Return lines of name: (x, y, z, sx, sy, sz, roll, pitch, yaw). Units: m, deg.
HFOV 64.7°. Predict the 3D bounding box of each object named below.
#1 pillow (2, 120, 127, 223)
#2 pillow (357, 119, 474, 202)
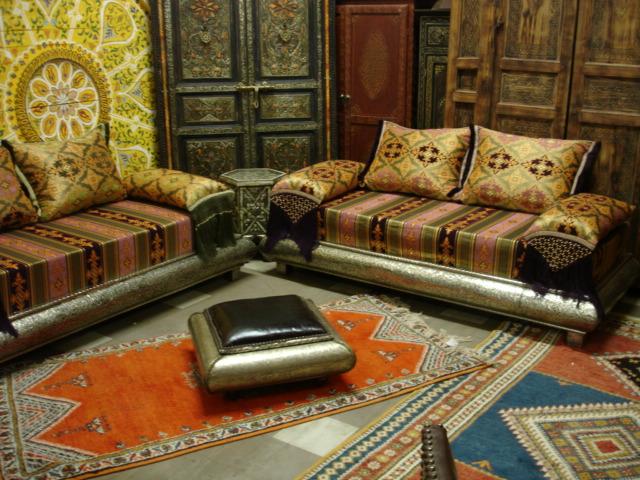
pillow: (-1.962, -0.500, 3.810, 0.464, 0.535, 0.982, 20, 29, 38)
pillow: (0.813, -0.661, 4.149, 0.950, 0.594, 0.242, 11, -9, 32)
